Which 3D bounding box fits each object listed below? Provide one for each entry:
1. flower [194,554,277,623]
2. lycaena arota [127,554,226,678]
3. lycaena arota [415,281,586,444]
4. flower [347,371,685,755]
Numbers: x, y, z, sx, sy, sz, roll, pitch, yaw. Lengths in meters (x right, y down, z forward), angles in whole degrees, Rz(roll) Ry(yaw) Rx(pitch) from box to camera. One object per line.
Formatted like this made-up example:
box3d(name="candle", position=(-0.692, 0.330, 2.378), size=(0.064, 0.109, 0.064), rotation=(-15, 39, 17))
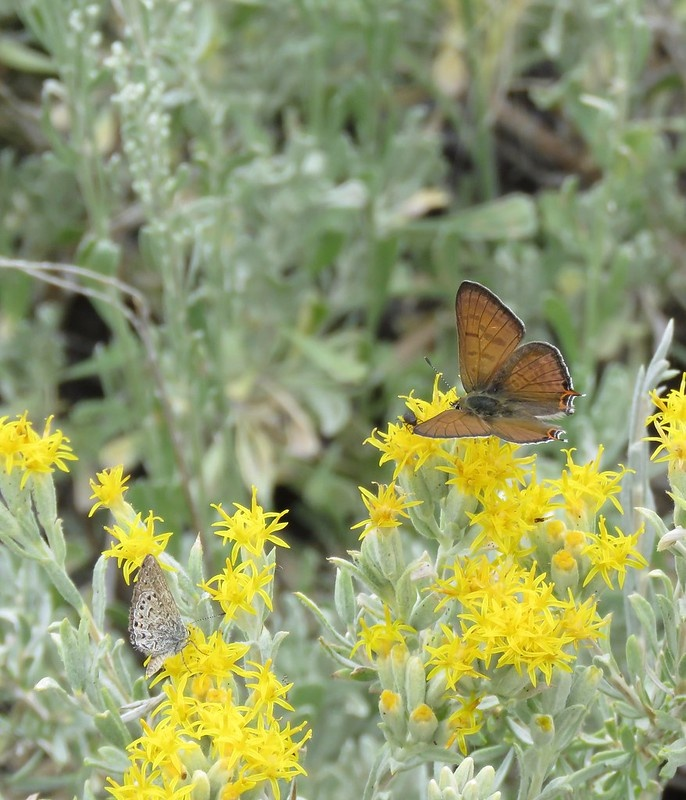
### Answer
box3d(name="flower", position=(-0.098, 0.162, 0.902), size=(0.063, 0.032, 0.059), rotation=(-7, 19, 35))
box3d(name="lycaena arota", position=(-0.147, 0.170, 0.896), size=(0.092, 0.122, 0.107), rotation=(1, -3, -17))
box3d(name="lycaena arota", position=(0.139, -0.003, 0.943), size=(0.148, 0.173, 0.092), rotation=(16, 35, 14))
box3d(name="flower", position=(0.155, 0.121, 0.982), size=(0.365, 0.302, 0.229), rotation=(1, -1, 5))
